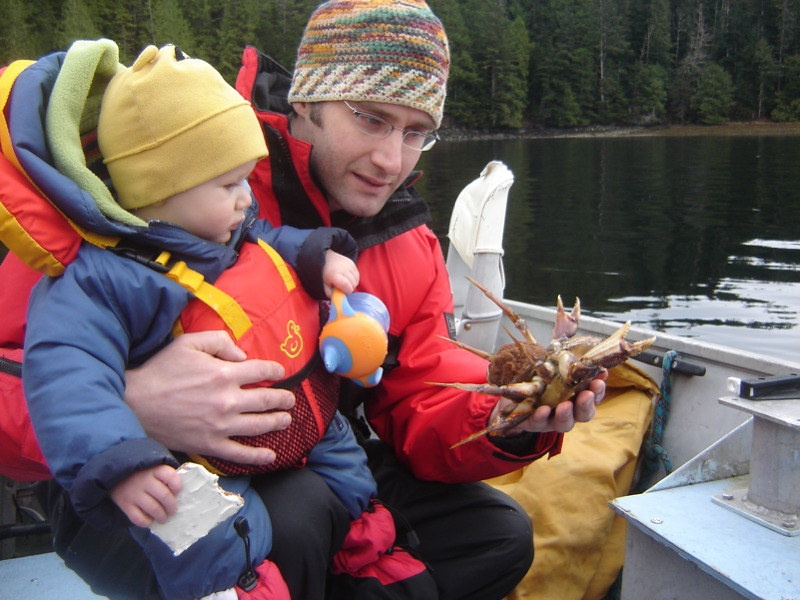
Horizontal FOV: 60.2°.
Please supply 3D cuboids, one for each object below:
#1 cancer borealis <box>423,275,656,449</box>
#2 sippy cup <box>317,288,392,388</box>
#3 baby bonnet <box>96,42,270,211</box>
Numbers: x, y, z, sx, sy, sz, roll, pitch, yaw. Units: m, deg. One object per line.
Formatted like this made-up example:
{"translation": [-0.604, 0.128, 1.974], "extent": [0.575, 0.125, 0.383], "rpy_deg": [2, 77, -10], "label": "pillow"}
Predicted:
{"translation": [0.435, 0.261, 2.134], "extent": [0.508, 0.550, 0.548], "rpy_deg": [3, 9, 5], "label": "cancer borealis"}
{"translation": [-0.141, 0.081, 2.147], "extent": [0.317, 0.277, 0.242], "rpy_deg": [-3, 13, -40], "label": "sippy cup"}
{"translation": [-0.616, -0.471, 1.955], "extent": [0.153, 0.458, 0.495], "rpy_deg": [10, 20, 31], "label": "baby bonnet"}
